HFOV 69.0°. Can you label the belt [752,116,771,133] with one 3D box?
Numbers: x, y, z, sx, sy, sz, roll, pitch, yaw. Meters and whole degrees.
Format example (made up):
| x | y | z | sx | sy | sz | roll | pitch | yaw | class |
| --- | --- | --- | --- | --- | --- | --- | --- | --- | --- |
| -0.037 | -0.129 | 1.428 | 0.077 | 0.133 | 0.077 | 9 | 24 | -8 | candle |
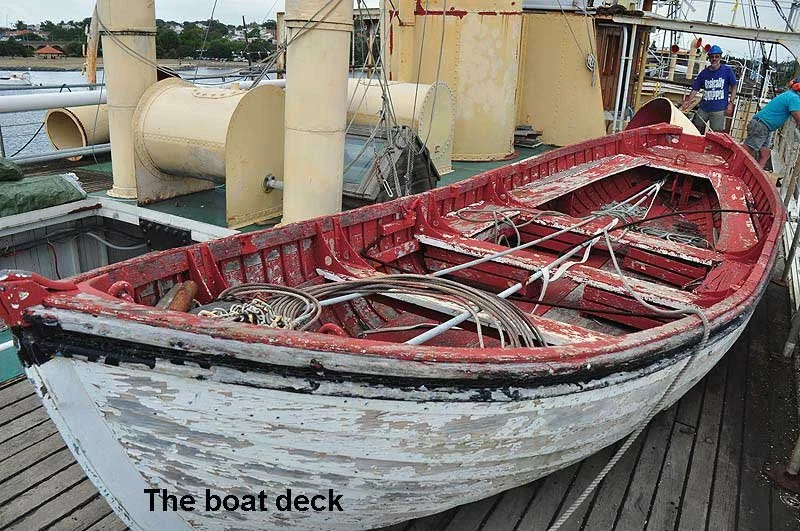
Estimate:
| x | y | z | sx | sy | sz | roll | pitch | yaw | class |
| --- | --- | --- | --- | --- | --- | --- | --- | --- | --- |
| 5.665 | -2.202 | 9.042 | 0.241 | 0.061 | 0.219 | 33 | 9 | -32 | belt |
